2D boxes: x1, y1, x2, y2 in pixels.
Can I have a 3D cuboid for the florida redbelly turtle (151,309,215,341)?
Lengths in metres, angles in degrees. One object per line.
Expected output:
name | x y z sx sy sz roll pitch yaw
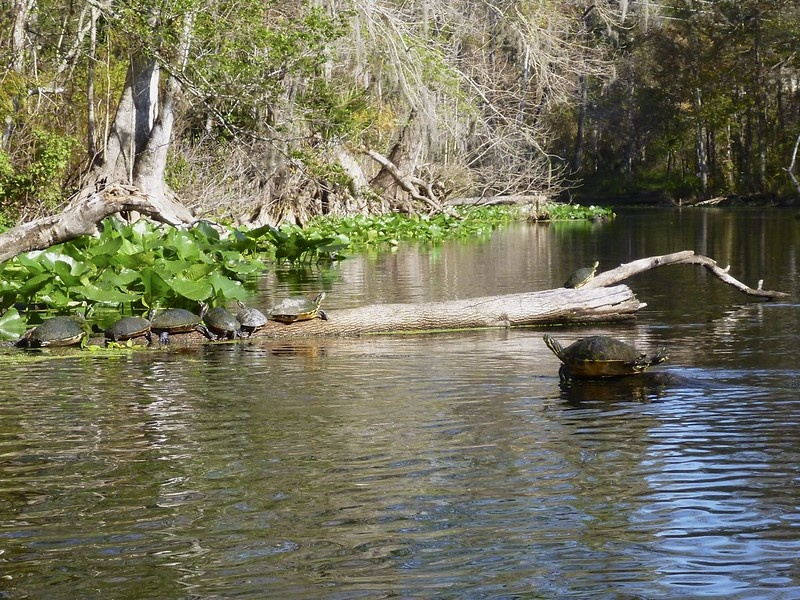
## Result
florida redbelly turtle | -2.440 0.256 12.757 0.555 0.149 0.426 -5 10 -37

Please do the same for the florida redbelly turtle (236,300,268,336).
florida redbelly turtle | -1.747 0.214 13.147 0.331 0.107 0.402 -14 33 -26

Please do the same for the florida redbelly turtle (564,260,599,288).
florida redbelly turtle | 2.530 -0.354 16.092 0.647 0.176 0.455 -25 12 -11

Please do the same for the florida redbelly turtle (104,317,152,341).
florida redbelly turtle | -2.965 0.313 12.544 0.427 0.114 0.291 -3 22 -4

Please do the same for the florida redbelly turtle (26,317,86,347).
florida redbelly turtle | -3.697 0.354 12.444 0.484 0.135 0.374 -18 34 -30

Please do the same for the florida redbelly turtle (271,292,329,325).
florida redbelly turtle | -1.125 0.093 13.295 0.595 0.157 0.392 -8 7 -36

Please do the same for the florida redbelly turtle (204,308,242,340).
florida redbelly turtle | -2.004 0.242 12.893 0.329 0.122 0.395 -10 40 -42
